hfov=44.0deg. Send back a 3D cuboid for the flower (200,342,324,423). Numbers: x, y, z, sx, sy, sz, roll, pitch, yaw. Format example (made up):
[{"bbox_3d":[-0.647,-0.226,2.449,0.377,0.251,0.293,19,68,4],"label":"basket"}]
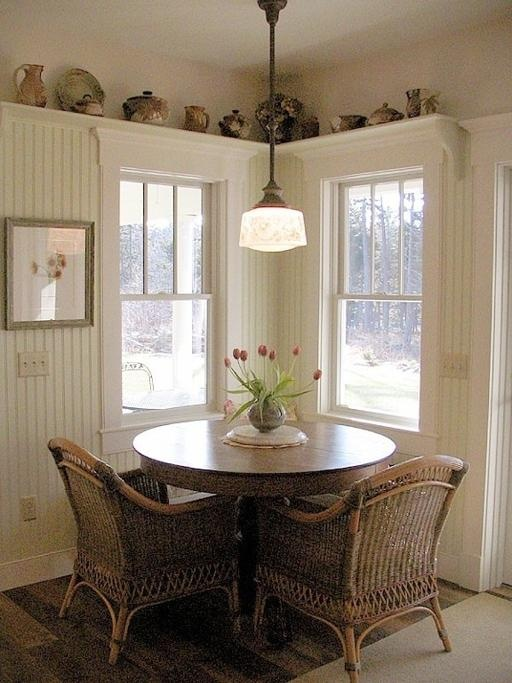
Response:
[{"bbox_3d":[0.059,0.216,3.258,0.493,0.345,0.465,0,3,-13],"label":"flower"}]

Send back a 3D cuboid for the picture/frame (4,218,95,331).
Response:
[{"bbox_3d":[-0.971,-0.316,2.920,0.587,0.636,0.049,-2,5,-42],"label":"picture/frame"}]

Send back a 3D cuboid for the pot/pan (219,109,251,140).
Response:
[{"bbox_3d":[-0.116,-1.186,3.481,0.190,0.133,0.174,-9,16,-34],"label":"pot/pan"}]

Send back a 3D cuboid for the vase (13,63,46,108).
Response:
[{"bbox_3d":[-0.999,-1.131,2.811,0.136,0.242,0.213,0,2,-18],"label":"vase"}]

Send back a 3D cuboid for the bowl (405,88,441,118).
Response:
[{"bbox_3d":[0.771,-1.123,2.970,0.154,0.144,0.080,2,2,34],"label":"bowl"}]

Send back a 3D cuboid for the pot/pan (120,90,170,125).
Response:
[{"bbox_3d":[-0.554,-1.144,3.167,0.204,0.130,0.199,4,12,28],"label":"pot/pan"}]

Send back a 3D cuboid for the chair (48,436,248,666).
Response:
[{"bbox_3d":[-0.569,0.700,2.776,0.853,1.004,0.738,-5,9,-42],"label":"chair"}]

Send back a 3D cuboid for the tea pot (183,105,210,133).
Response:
[{"bbox_3d":[-0.329,-1.172,3.374,0.134,0.155,0.164,1,1,2],"label":"tea pot"}]

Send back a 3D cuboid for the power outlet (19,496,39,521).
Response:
[{"bbox_3d":[-1.054,0.781,2.940,0.018,0.124,0.084,2,2,37],"label":"power outlet"}]

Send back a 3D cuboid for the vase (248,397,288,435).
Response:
[{"bbox_3d":[0.055,0.312,2.582,0.138,0.093,0.142,1,-7,-15],"label":"vase"}]
